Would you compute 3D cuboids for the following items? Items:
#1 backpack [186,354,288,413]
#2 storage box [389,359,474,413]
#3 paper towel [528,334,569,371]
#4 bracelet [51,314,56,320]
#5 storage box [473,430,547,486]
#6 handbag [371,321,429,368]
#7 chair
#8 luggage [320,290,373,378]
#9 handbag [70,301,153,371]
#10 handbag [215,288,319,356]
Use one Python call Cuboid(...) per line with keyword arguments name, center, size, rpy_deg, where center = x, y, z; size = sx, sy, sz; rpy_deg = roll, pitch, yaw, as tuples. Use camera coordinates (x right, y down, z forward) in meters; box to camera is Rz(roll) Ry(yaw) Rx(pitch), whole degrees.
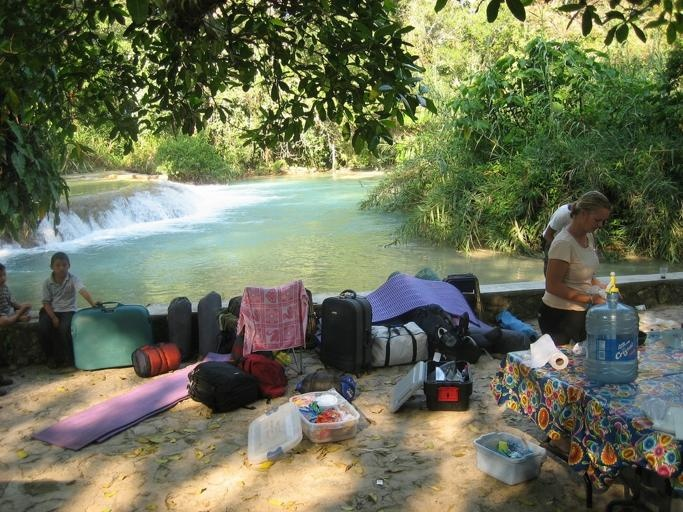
Cuboid(name="backpack", center=(-0.961, 1.172, 4.859), size=(0.685, 0.249, 0.551), rpy_deg=(-2, 5, -40))
Cuboid(name="storage box", center=(0.849, 1.156, 4.621), size=(0.606, 0.224, 0.500), rpy_deg=(-1, 6, 4))
Cuboid(name="paper towel", center=(1.283, 0.603, 3.150), size=(0.217, 0.087, 0.208), rpy_deg=(-5, 13, 0))
Cuboid(name="bracelet", center=(-3.304, 0.681, 5.747), size=(0.051, 0.067, 0.020), rpy_deg=(-13, -6, -6))
Cuboid(name="storage box", center=(1.180, 1.405, 3.562), size=(0.320, 0.180, 0.404), rpy_deg=(-2, 0, -27))
Cuboid(name="handbag", center=(0.625, 0.961, 5.540), size=(0.580, 0.365, 0.430), rpy_deg=(-4, 6, -24))
Cuboid(name="chair", center=(-0.744, 0.724, 5.500), size=(0.858, 0.996, 0.751), rpy_deg=(-2, 8, -18))
Cuboid(name="luggage", center=(0.044, 0.851, 5.360), size=(0.747, 1.053, 0.384), rpy_deg=(11, 15, 43))
Cuboid(name="handbag", center=(-2.597, 0.919, 5.654), size=(0.726, 0.609, 0.364), rpy_deg=(-2, 15, -12))
Cuboid(name="handbag", center=(-0.801, 0.713, 5.698), size=(0.869, 0.822, 0.367), rpy_deg=(2, -9, -8))
